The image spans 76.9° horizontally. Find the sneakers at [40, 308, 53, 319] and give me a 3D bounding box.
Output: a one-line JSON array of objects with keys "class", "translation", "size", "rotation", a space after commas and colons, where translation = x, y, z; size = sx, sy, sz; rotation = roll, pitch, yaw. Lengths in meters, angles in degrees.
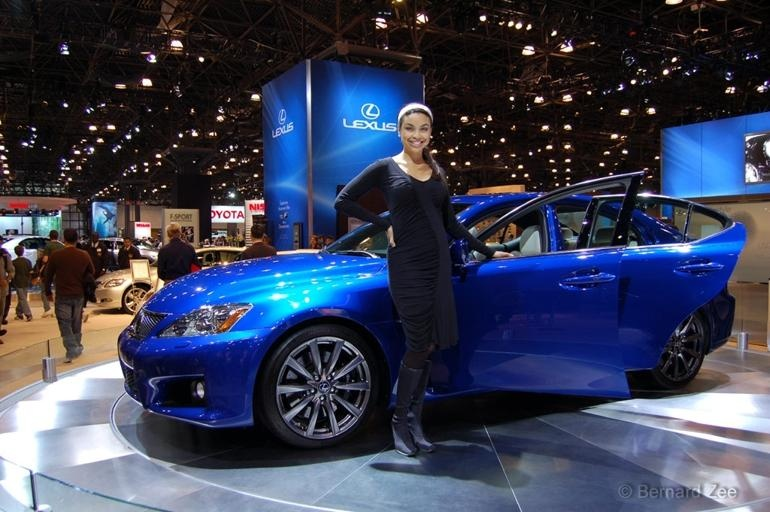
[{"class": "sneakers", "translation": [-7.883, 1.368, 11.436], "size": [0.145, 0.197, 0.400], "rotation": [-4, -7, 36]}]

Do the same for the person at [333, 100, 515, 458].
[{"class": "person", "translation": [0.192, 0.173, 3.437], "size": [0.974, 2.470, 0.423], "rotation": [0, 6, 1]}]

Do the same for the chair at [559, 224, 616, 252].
[{"class": "chair", "translation": [1.741, -0.161, 4.233], "size": [0.560, 0.232, 0.333], "rotation": [-2, 6, -16]}]

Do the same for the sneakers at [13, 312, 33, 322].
[{"class": "sneakers", "translation": [-8.197, 1.387, 10.993], "size": [0.501, 0.213, 0.164], "rotation": [9, 0, 1]}]

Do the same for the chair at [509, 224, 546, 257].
[{"class": "chair", "translation": [1.177, -0.117, 4.084], "size": [0.294, 0.336, 0.245], "rotation": [3, -4, -27]}]
